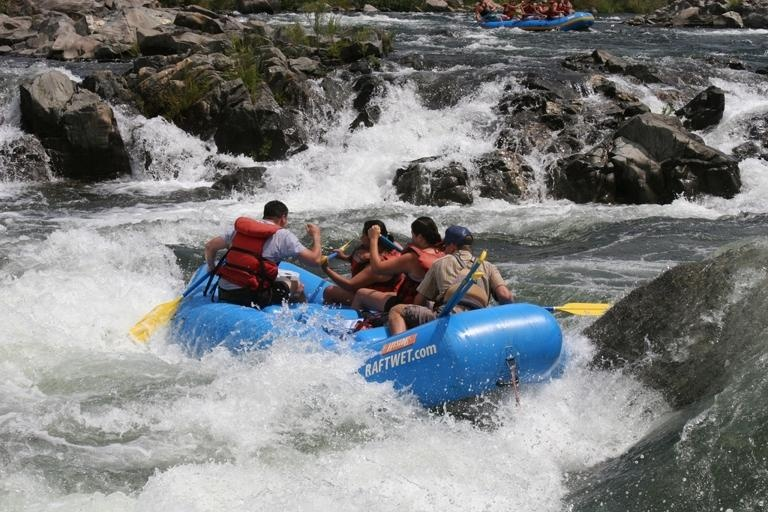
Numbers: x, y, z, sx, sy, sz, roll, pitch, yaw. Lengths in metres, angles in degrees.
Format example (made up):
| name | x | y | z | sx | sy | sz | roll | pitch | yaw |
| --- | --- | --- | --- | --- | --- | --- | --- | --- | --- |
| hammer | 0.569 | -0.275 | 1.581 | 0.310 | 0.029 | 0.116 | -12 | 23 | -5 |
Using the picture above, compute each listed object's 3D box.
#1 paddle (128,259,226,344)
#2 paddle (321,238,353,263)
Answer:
| name | x | y | z | sx | sy | sz | roll | pitch | yaw |
| --- | --- | --- | --- | --- | --- | --- | --- | --- | --- |
| paddle | -3.436 | 0.806 | 16.587 | 1.717 | 0.104 | 0.308 | -36 | 73 | -15 |
| paddle | -0.701 | -0.057 | 16.817 | 0.202 | 0.148 | 1.276 | -20 | 4 | 26 |
